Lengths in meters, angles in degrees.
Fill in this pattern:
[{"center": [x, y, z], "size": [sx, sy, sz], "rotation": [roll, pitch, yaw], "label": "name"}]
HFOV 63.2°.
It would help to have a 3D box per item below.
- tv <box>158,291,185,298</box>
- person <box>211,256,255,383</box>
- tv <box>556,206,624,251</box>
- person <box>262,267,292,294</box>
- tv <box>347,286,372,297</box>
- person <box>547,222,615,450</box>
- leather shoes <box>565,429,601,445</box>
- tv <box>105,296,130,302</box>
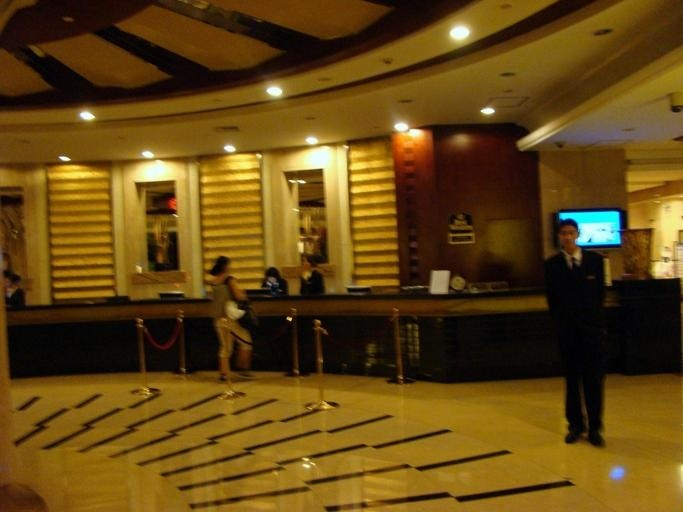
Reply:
[{"center": [-2.806, 0.608, 9.124], "size": [0.332, 0.092, 1.756], "rotation": [-2, 0, -18], "label": "tv"}, {"center": [-1.462, 0.850, 7.383], "size": [0.506, 1.505, 1.128], "rotation": [-3, 0, -11], "label": "person"}, {"center": [4.314, -0.463, 9.553], "size": [0.143, 0.691, 1.338], "rotation": [-12, 7, -34], "label": "tv"}, {"center": [-1.013, 0.378, 8.510], "size": [0.349, 0.408, 0.960], "rotation": [-3, 0, -7], "label": "person"}, {"center": [0.252, 0.482, 7.823], "size": [0.315, 0.131, 0.750], "rotation": [-2, 0, 0], "label": "tv"}, {"center": [2.055, 0.643, 4.836], "size": [0.467, 2.033, 0.234], "rotation": [-3, 0, 19], "label": "person"}, {"center": [2.091, 1.558, 4.795], "size": [0.259, 0.080, 0.150], "rotation": [-1, 13, 31], "label": "leather shoes"}, {"center": [-3.474, 0.676, 8.653], "size": [0.334, 0.088, 0.496], "rotation": [-2, 0, -21], "label": "tv"}]
